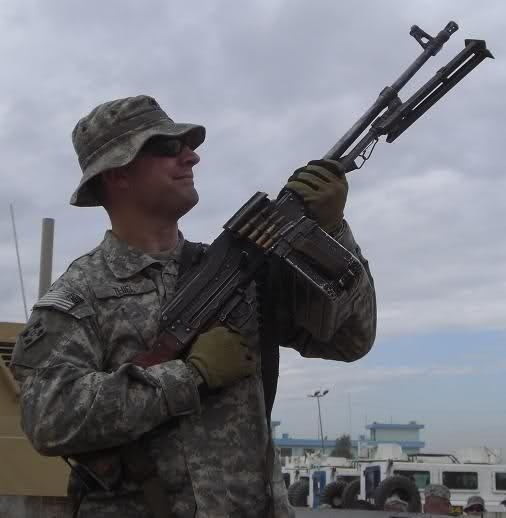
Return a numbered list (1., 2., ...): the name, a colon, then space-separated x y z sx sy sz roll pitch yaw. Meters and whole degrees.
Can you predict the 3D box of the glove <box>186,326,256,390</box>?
1. glove: -0.147 0.448 4.125 0.296 0.279 0.151 5 -9 -37
